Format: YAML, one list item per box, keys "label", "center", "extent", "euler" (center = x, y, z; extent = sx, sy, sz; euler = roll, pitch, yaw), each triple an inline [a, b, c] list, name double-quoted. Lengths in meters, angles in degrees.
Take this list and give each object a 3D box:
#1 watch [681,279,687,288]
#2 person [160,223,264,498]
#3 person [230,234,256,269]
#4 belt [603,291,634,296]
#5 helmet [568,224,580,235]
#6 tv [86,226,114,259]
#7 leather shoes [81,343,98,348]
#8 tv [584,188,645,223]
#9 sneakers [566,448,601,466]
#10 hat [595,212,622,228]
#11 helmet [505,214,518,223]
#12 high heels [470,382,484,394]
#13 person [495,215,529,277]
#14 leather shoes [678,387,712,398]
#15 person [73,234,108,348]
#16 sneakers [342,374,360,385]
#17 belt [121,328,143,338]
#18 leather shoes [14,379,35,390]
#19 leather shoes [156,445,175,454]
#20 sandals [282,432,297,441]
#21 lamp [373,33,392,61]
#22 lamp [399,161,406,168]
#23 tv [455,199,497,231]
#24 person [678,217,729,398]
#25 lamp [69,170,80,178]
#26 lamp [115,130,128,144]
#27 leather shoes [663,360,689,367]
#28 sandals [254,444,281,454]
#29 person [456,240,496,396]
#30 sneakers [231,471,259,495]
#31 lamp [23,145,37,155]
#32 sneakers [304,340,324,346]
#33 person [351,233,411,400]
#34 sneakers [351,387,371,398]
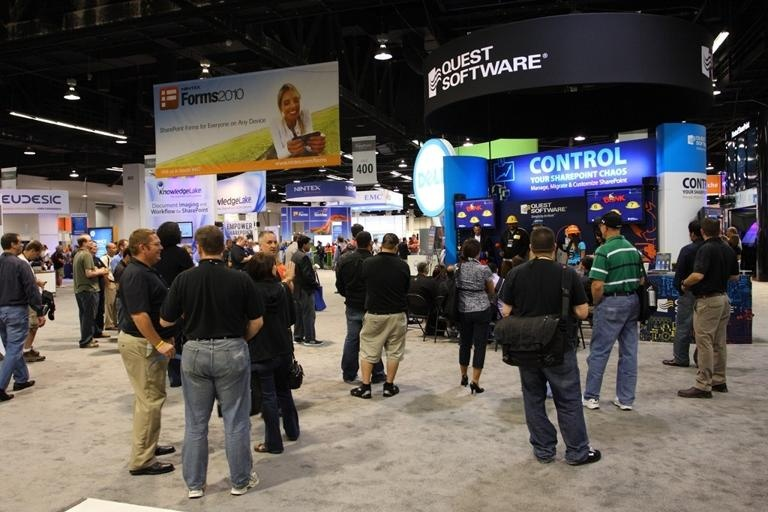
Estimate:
- label: "watch"
  center: [3.454, 0.337, 6.626]
  extent: [0.029, 0.074, 0.055]
  euler: [0, 8, 15]
- label: "person"
  center: [-1.455, 0.924, 4.949]
  extent: [0.803, 2.312, 0.445]
  euler: [-3, 9, -13]
- label: "person"
  center: [-2.534, -0.065, 10.226]
  extent: [0.317, 0.917, 0.423]
  euler: [-7, 21, -19]
- label: "belt"
  center: [2.538, 0.419, 6.210]
  extent: [0.343, 0.068, 0.066]
  euler: [-1, 9, 2]
- label: "helmet"
  center: [3.604, -0.483, 10.976]
  extent: [0.199, 0.197, 0.260]
  euler: [4, 10, 16]
- label: "tv"
  center: [-8.522, -0.404, 17.217]
  extent: [1.157, 1.311, 0.182]
  euler: [-1, -3, 6]
- label: "leather shoes"
  center: [-4.847, 1.478, 9.452]
  extent: [0.256, 0.109, 0.102]
  euler: [0, -2, -7]
- label: "tv"
  center: [4.208, -0.928, 10.408]
  extent: [0.890, 0.609, 0.089]
  euler: [0, -1, 37]
- label: "sneakers"
  center: [1.848, 1.863, 5.353]
  extent: [0.327, 0.139, 0.129]
  euler: [-6, 6, -22]
- label: "hat"
  center: [2.463, -0.373, 6.273]
  extent: [0.158, 0.126, 0.231]
  euler: [3, 14, -4]
- label: "helmet"
  center: [2.597, -0.737, 11.791]
  extent: [0.220, 0.124, 0.318]
  euler: [-2, 2, 17]
- label: "high heels"
  center: [1.117, 1.600, 6.886]
  extent: [0.078, 0.115, 0.234]
  euler: [-1, 1, 36]
- label: "person"
  center: [2.410, 0.062, 10.926]
  extent: [0.600, 1.724, 0.518]
  euler: [-2, -15, 22]
- label: "leather shoes"
  center: [3.553, 1.583, 6.637]
  extent: [0.360, 0.155, 0.147]
  euler: [2, -2, 14]
- label: "person"
  center: [-4.911, 0.594, 9.577]
  extent: [0.477, 1.847, 0.773]
  euler: [-6, 10, -27]
- label: "sneakers"
  center: [-0.433, 1.611, 7.358]
  extent: [0.247, 0.170, 0.083]
  euler: [8, -8, -44]
- label: "belt"
  center: [-2.298, 0.713, 5.228]
  extent: [0.194, 0.089, 0.033]
  euler: [0, 9, 6]
- label: "leather shoes"
  center: [-4.587, 1.656, 7.321]
  extent: [0.077, 0.094, 0.232]
  euler: [6, 8, 40]
- label: "leather shoes"
  center: [-2.135, 1.907, 5.561]
  extent: [0.200, 0.084, 0.073]
  euler: [-3, 0, -3]
- label: "sandals"
  center: [-0.960, 1.845, 5.792]
  extent: [0.090, 0.047, 0.134]
  euler: [1, -3, 2]
- label: "lamp"
  center: [-0.038, -4.038, 11.036]
  extent: [0.252, 0.462, 0.595]
  euler: [-1, 9, 2]
- label: "lamp"
  center: [0.821, -4.004, 24.855]
  extent: [0.317, 0.327, 0.311]
  euler: [3, -3, -32]
- label: "tv"
  center: [1.879, -0.858, 12.022]
  extent: [0.707, 0.505, 0.075]
  euler: [1, -2, 24]
- label: "person"
  center: [3.713, 0.609, 6.614]
  extent: [0.464, 2.033, 0.710]
  euler: [8, 12, 44]
- label: "lamp"
  center: [-13.895, -3.668, 25.698]
  extent: [0.524, 0.282, 0.523]
  euler: [1, 3, -4]
- label: "lamp"
  center: [-7.684, -3.506, 16.750]
  extent: [0.360, 0.374, 0.368]
  euler: [6, 11, 37]
- label: "leather shoes"
  center: [3.903, 1.469, 7.711]
  extent: [0.106, 0.115, 0.286]
  euler: [2, -4, -40]
- label: "sandals"
  center: [-1.143, 1.902, 5.596]
  extent: [0.238, 0.066, 0.103]
  euler: [3, 0, 9]
- label: "person"
  center: [1.052, 0.736, 6.805]
  extent: [0.440, 1.855, 0.321]
  euler: [1, 9, 10]
- label: "sneakers"
  center: [-1.226, 2.032, 5.068]
  extent: [0.103, 0.120, 0.265]
  euler: [3, 6, 24]
- label: "lamp"
  center: [-12.644, -3.801, 20.447]
  extent: [0.361, 0.186, 0.363]
  euler: [0, 3, 7]
- label: "sneakers"
  center: [-1.161, 1.446, 9.393]
  extent: [0.315, 0.134, 0.113]
  euler: [0, -3, -17]
- label: "person"
  center: [-0.049, 0.712, 6.834]
  extent: [0.703, 1.946, 0.429]
  euler: [-1, 9, -1]
- label: "sneakers"
  center: [-0.297, 1.642, 6.858]
  extent: [0.120, 0.092, 0.213]
  euler: [1, 2, -36]
